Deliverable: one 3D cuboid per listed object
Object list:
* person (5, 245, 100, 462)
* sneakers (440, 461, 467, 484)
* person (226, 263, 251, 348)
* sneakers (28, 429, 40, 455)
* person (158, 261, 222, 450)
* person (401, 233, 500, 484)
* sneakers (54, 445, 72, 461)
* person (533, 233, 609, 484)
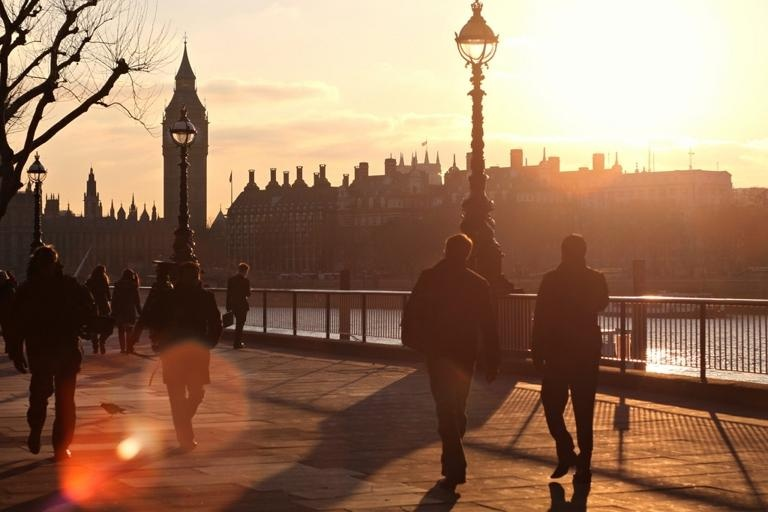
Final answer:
[{"bbox_3d":[-4.123,1.143,12.877,0.981,2.526,0.704,0,2,26],"label":"person"},{"bbox_3d":[0.759,2.359,11.476,0.235,0.168,0.240,-3,-4,32],"label":"sneakers"},{"bbox_3d":[-3.462,1.220,25.128,0.583,2.103,1.128,0,1,-9],"label":"person"},{"bbox_3d":[-4.177,2.237,12.589,0.128,0.273,0.105,-1,2,-29],"label":"sneakers"},{"bbox_3d":[-2.518,1.235,13.515,0.743,2.291,0.993,0,1,7],"label":"person"},{"bbox_3d":[0.805,1.131,11.930,0.941,2.740,0.910,-1,2,-36],"label":"person"},{"bbox_3d":[-3.822,2.362,12.546,0.172,0.119,0.169,-1,2,-37],"label":"sneakers"},{"bbox_3d":[2.119,1.140,12.047,0.849,2.742,0.719,0,1,10],"label":"person"}]
